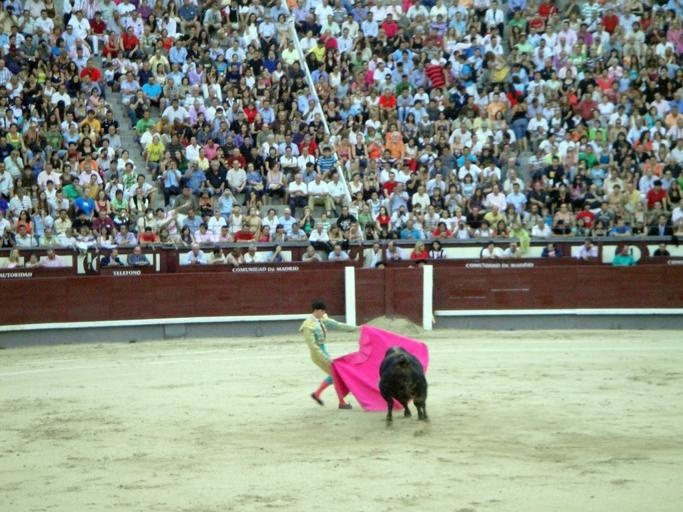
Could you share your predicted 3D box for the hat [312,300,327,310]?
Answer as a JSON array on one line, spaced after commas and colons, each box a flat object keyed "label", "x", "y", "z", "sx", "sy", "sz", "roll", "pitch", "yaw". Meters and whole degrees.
[{"label": "hat", "x": -0.368, "y": 0.811, "z": 23.118, "sx": 0.160, "sy": 0.176, "sz": 0.135, "roll": -2, "pitch": 8, "yaw": -8}]

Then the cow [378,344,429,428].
[{"label": "cow", "x": 0.968, "y": 2.060, "z": 22.258, "sx": 0.736, "sy": 1.095, "sz": 0.540, "roll": -4, "pitch": 2, "yaw": 6}]

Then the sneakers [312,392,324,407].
[{"label": "sneakers", "x": -0.384, "y": 2.382, "z": 23.040, "sx": 0.116, "sy": 0.305, "sz": 0.108, "roll": -21, "pitch": 33, "yaw": 12}]

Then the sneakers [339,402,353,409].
[{"label": "sneakers", "x": 0.071, "y": 2.441, "z": 22.916, "sx": 0.167, "sy": 0.070, "sz": 0.098, "roll": 1, "pitch": 2, "yaw": -8}]
